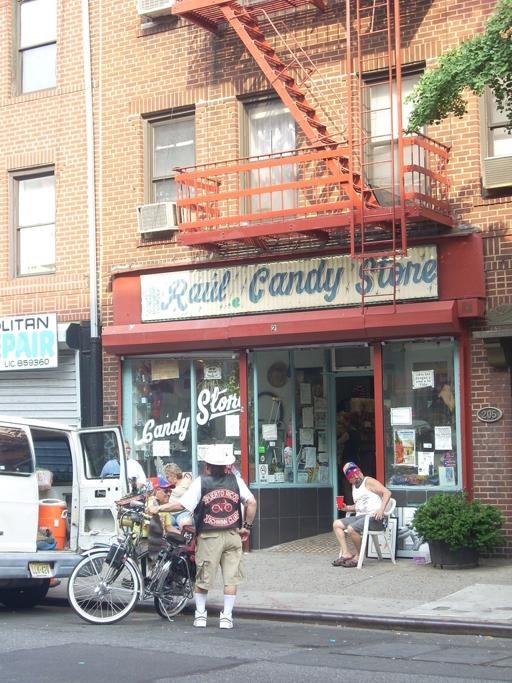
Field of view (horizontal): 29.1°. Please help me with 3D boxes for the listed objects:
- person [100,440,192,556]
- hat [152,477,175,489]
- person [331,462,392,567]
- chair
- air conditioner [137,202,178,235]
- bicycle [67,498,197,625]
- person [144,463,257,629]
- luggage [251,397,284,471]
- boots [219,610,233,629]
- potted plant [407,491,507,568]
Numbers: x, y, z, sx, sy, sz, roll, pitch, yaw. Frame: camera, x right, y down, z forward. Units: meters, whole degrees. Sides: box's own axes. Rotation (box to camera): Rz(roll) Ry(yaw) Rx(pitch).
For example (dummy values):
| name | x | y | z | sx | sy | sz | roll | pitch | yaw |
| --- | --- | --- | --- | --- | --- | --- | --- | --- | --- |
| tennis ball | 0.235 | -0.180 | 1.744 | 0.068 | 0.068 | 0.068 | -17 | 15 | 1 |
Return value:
| name | x | y | z | sx | sy | sz | roll | pitch | yaw |
| --- | --- | --- | --- | --- | --- | --- | --- | --- | --- |
| person | -1.066 | 1.494 | 10.048 | 0.905 | 0.656 | 0.634 | -8 | 0 | 7 |
| hat | -1.002 | 1.488 | 10.286 | 0.202 | 0.069 | 0.130 | -2 | -4 | 31 |
| person | 1.234 | 2.051 | 11.716 | 0.717 | 1.190 | 0.491 | -3 | -4 | 6 |
| chair | 1.377 | 2.376 | 12.022 | 0.690 | 1.008 | 0.713 | 5 | -12 | -21 |
| air conditioner | -1.488 | -1.825 | 14.711 | 0.703 | 0.544 | 0.399 | 1 | 1 | 39 |
| bicycle | -0.975 | 2.024 | 9.058 | 0.648 | 1.087 | 1.649 | 6 | -7 | 40 |
| person | -0.452 | 1.669 | 8.447 | 0.827 | 1.566 | 0.483 | 0 | 2 | -8 |
| luggage | 0.139 | 1.321 | 13.966 | 0.335 | 1.140 | 0.117 | -2 | -6 | 11 |
| boots | -0.259 | 2.362 | 8.356 | 0.064 | 0.101 | 0.206 | 2 | 0 | 5 |
| potted plant | 2.344 | 2.093 | 11.362 | 0.809 | 0.768 | 0.861 | -2 | -1 | 16 |
